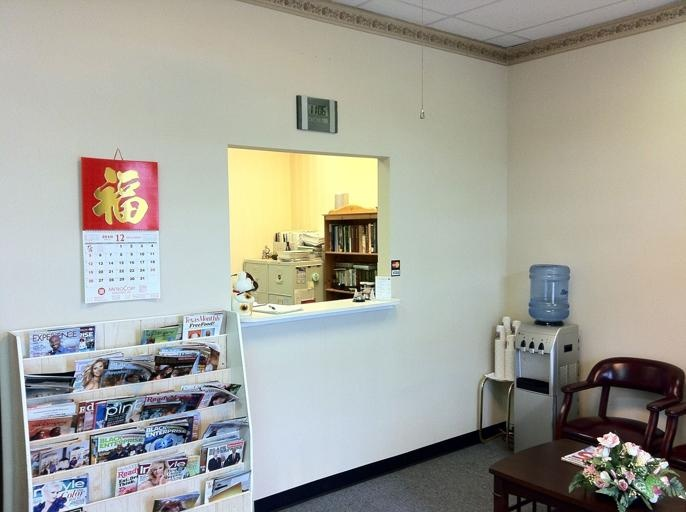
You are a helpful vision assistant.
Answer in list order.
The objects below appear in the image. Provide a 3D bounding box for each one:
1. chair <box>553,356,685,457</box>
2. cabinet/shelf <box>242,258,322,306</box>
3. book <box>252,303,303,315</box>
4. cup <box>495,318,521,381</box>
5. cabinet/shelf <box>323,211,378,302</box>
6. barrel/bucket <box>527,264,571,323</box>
[{"bbox_3d":[2.243,1.115,4.097,0.712,1.045,0.754,3,0,-41],"label":"chair"},{"bbox_3d":[-0.726,0.309,6.171,0.401,0.549,1.157,-4,4,-44],"label":"cabinet/shelf"},{"bbox_3d":[-0.507,0.407,3.970,0.386,0.038,0.379,-1,3,-4],"label":"book"},{"bbox_3d":[1.573,0.888,4.999,0.186,0.584,0.355,0,3,17],"label":"cup"},{"bbox_3d":[0.089,0.002,5.506,0.279,1.037,0.914,-3,5,-32],"label":"cabinet/shelf"},{"bbox_3d":[1.911,0.348,4.804,0.392,0.539,0.333,1,3,33],"label":"barrel/bucket"}]
